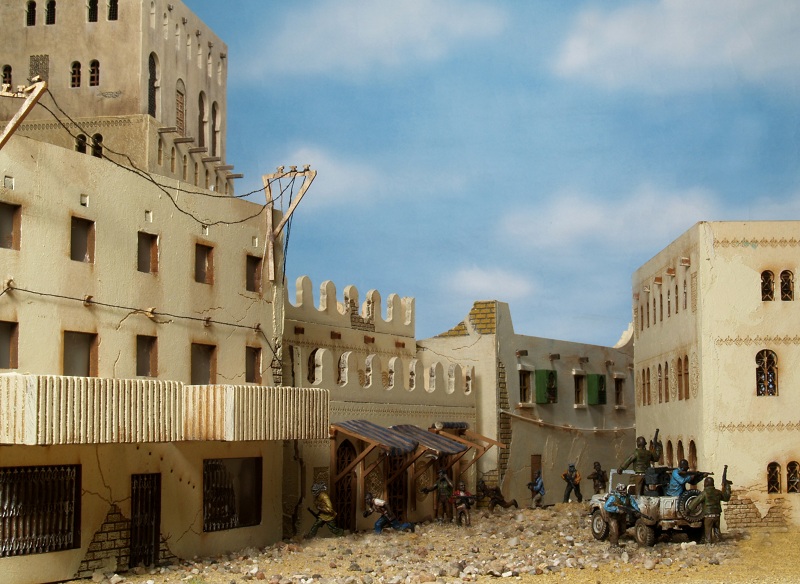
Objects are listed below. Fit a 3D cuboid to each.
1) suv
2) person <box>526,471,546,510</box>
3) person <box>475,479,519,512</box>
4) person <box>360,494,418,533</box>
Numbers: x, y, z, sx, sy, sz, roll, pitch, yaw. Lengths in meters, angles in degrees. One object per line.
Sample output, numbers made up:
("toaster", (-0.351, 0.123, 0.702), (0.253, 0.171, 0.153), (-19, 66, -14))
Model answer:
("suv", (7.198, 6.155, 47.916), (1.847, 1.963, 3.373), (4, -4, -34))
("person", (5.078, 7.185, 61.606), (0.642, 1.510, 2.256), (-2, -14, 5))
("person", (3.500, 7.252, 59.936), (1.457, 0.707, 0.917), (3, 2, 23))
("person", (-0.326, 6.689, 50.690), (1.370, 1.085, 1.080), (6, -10, -12))
